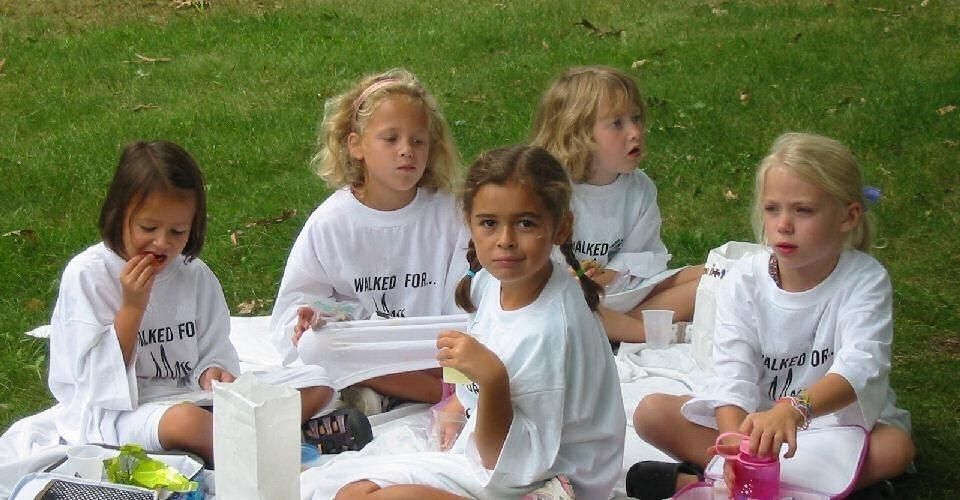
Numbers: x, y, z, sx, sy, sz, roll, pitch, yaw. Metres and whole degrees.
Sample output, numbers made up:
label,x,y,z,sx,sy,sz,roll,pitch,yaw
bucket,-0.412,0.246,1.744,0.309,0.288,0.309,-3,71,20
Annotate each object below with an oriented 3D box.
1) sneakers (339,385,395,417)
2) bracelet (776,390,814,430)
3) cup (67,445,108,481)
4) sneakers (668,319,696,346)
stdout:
label,x,y,z,sx,sy,sz,roll,pitch,yaw
sneakers,-0.856,1.131,7.290,0.242,0.102,0.300,16,0,15
bracelet,2.159,1.125,6.589,0.167,0.334,0.202,19,36,41
cup,-2.591,1.403,6.392,0.253,0.160,0.238,0,0,0
sneakers,1.626,0.659,7.886,0.287,0.242,0.157,1,-3,-11
